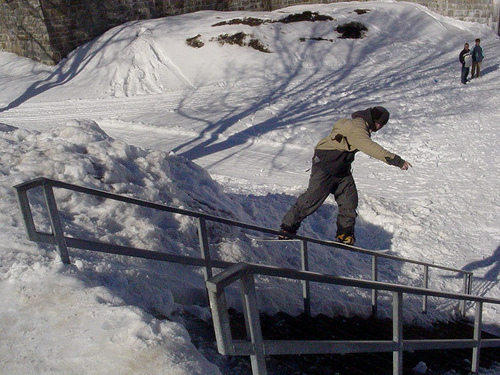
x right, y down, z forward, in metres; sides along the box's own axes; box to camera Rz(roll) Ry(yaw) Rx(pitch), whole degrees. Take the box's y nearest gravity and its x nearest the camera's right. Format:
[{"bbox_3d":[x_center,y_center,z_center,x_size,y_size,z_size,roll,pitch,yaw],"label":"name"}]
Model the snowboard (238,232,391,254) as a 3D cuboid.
[{"bbox_3d":[0.950,0.865,9.646,2.433,0.248,0.196,3,-2,17],"label":"snowboard"}]
